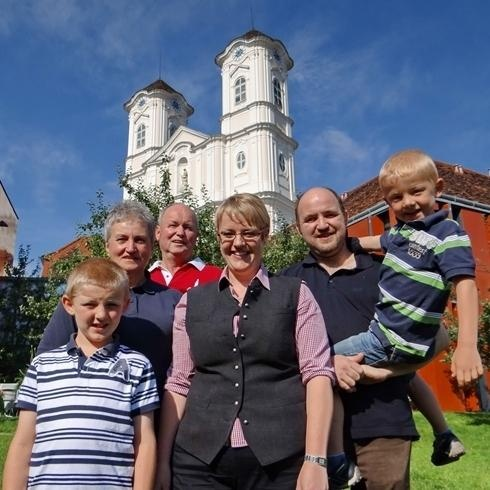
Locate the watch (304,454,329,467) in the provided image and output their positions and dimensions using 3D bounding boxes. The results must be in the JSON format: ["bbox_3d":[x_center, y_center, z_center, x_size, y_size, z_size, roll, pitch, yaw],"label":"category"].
[{"bbox_3d":[0.374,1.103,2.695,0.097,0.062,0.095,15,-24,-28],"label":"watch"}]

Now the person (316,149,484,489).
[{"bbox_3d":[1.103,0.102,3.521,0.828,1.596,0.423,-10,-14,32],"label":"person"}]
